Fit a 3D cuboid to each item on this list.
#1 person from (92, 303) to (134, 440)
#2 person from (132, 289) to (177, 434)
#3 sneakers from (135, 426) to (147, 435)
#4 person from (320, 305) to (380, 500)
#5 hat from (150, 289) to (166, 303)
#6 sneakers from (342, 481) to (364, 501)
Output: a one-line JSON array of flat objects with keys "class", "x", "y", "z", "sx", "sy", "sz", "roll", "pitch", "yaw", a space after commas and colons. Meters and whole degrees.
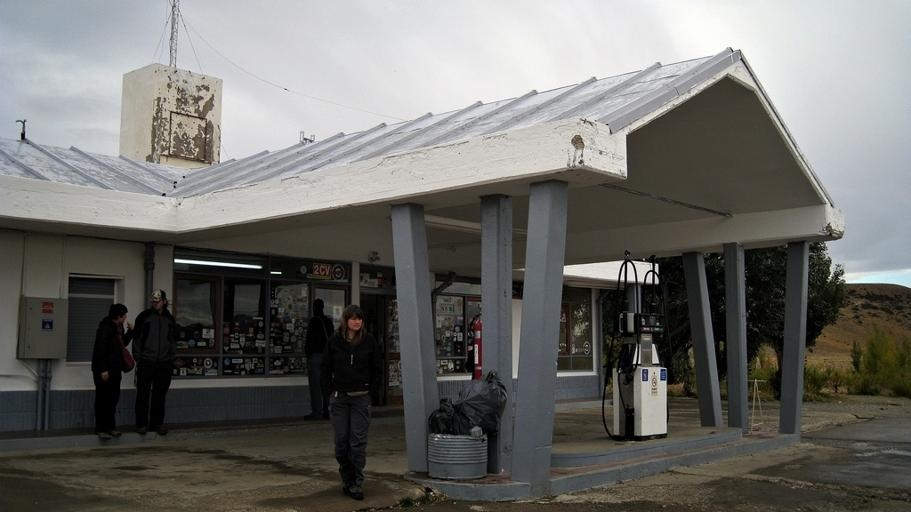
[{"class": "person", "x": -7.137, "y": 2.400, "z": 13.736, "sx": 0.694, "sy": 2.734, "sz": 0.531, "roll": 4, "pitch": -11, "yaw": -27}, {"class": "person", "x": -6.433, "y": 2.238, "z": 14.062, "sx": 0.833, "sy": 2.970, "sz": 0.677, "roll": 4, "pitch": -11, "yaw": -26}, {"class": "sneakers", "x": -6.641, "y": 3.659, "z": 14.002, "sx": 0.178, "sy": 0.137, "sz": 0.187, "roll": -2, "pitch": -6, "yaw": 15}, {"class": "person", "x": -1.742, "y": 2.382, "z": 11.076, "sx": 0.919, "sy": 3.144, "sz": 0.391, "roll": 0, "pitch": -10, "yaw": -7}, {"class": "hat", "x": -6.351, "y": 0.848, "z": 14.218, "sx": 0.284, "sy": 0.234, "sz": 0.389, "roll": 3, "pitch": -16, "yaw": 2}, {"class": "sneakers", "x": -1.672, "y": 3.832, "z": 10.874, "sx": 0.382, "sy": 0.237, "sz": 0.294, "roll": -1, "pitch": -11, "yaw": -1}]
